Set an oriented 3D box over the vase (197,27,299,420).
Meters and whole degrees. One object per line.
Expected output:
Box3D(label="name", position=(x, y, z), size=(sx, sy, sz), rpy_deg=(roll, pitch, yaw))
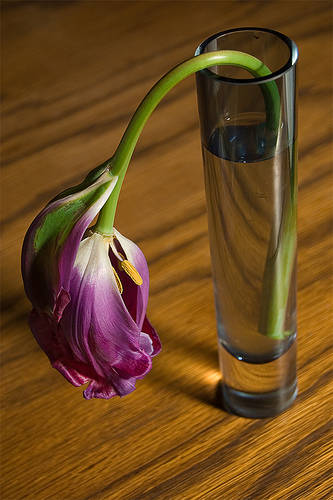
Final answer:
Box3D(label="vase", position=(0.049, 0.003, 0.262), size=(0.045, 0.206, 0.043), rpy_deg=(-2, 28, 8))
